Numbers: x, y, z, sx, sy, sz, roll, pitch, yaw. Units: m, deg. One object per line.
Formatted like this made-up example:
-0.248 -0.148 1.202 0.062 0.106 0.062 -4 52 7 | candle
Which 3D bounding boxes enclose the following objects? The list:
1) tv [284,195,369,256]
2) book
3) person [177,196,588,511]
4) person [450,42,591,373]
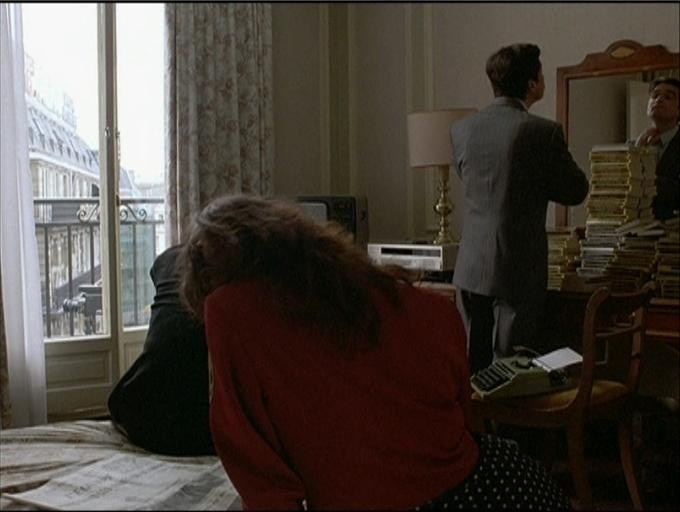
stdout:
-0.039 -0.083 3.236 0.456 0.391 0.284 0 -2 -13 | tv
1.042 -0.039 2.268 0.367 0.760 0.685 2 2 29 | book
0.047 0.245 1.436 0.779 0.836 0.326 -6 4 -16 | person
0.636 -0.015 2.217 0.409 1.481 0.372 16 26 42 | person
